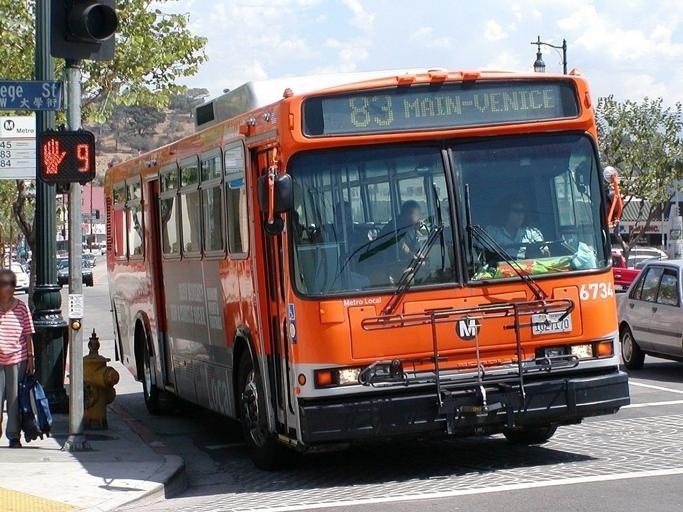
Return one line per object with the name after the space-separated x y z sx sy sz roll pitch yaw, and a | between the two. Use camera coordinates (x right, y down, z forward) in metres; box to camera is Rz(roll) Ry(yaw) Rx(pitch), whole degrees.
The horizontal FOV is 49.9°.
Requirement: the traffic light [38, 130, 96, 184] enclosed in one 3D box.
-3.084 -1.102 8.252 0.539 0.610 0.221 0 -1 -14 | traffic light

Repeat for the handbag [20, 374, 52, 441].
-3.746 1.865 8.992 0.342 0.885 0.529 -3 1 -26 | handbag

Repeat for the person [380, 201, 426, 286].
0.600 -0.121 7.048 0.393 0.823 0.331 1 24 1 | person

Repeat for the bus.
-0.467 0.224 8.496 2.709 3.530 6.390 -3 0 -45 | bus
